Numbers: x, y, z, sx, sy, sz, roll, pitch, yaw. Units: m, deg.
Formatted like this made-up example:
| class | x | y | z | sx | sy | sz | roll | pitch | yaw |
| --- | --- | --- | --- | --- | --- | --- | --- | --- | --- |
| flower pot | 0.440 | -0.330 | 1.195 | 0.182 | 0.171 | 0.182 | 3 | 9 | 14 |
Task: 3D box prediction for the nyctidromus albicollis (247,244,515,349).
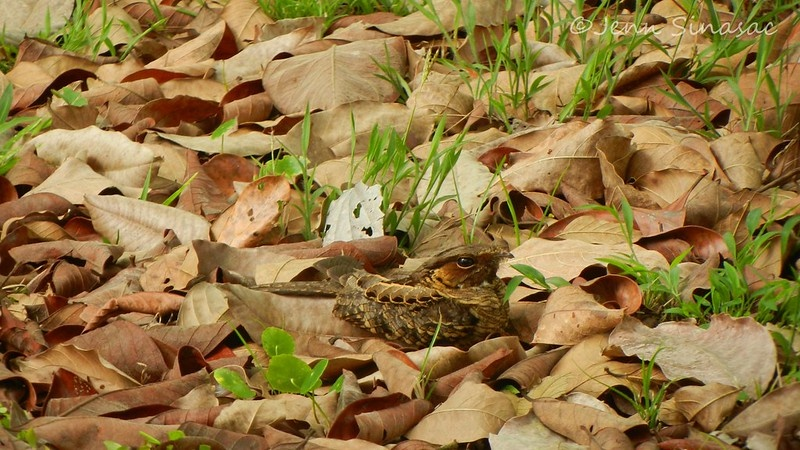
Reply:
| class | x | y | z | sx | sy | sz | roll | pitch | yaw |
| --- | --- | --- | --- | --- | --- | --- | --- | --- | --- |
| nyctidromus albicollis | 0.010 | 0.378 | 4.644 | 1.151 | 0.361 | 0.496 | 4 | 50 | 8 |
